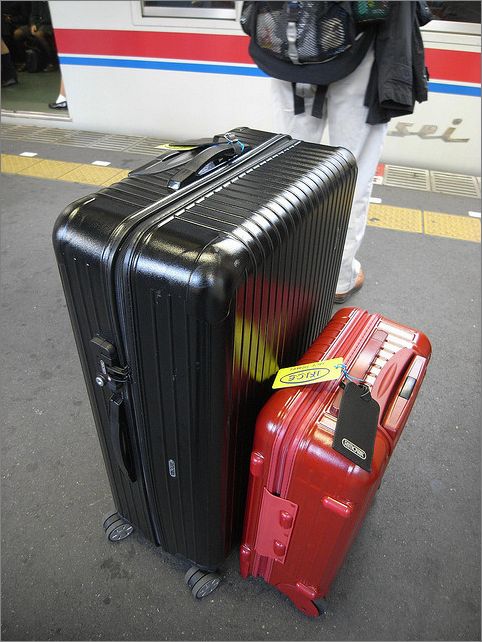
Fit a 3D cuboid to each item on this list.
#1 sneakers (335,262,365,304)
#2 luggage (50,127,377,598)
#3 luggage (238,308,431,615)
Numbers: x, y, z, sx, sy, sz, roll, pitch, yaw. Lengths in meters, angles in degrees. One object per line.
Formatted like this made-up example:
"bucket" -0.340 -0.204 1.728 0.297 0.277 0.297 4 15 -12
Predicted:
"sneakers" 0.542 -0.175 2.379 0.093 0.108 0.255 24 54 23
"luggage" -0.036 0.079 1.193 0.348 0.964 0.707 23 42 25
"luggage" 0.195 0.327 1.043 0.264 0.524 0.520 27 45 17
